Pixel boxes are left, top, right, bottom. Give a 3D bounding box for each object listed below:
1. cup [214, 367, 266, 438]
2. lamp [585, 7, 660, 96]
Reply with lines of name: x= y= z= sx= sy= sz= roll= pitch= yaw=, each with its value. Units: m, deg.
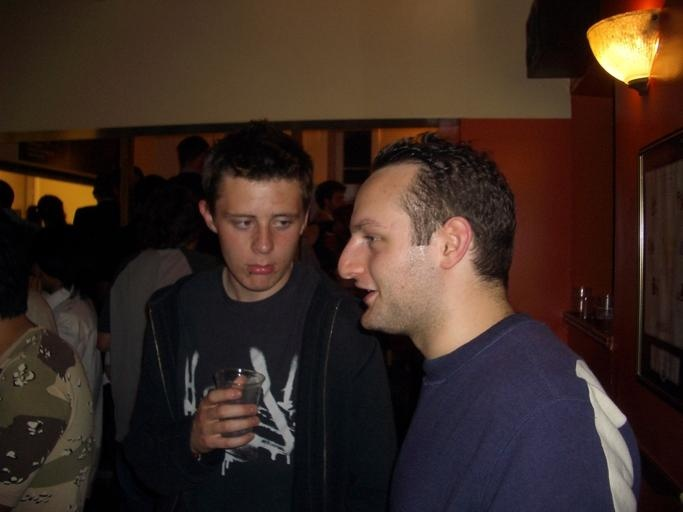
cup: x=-0.389 y=0.617 z=2.383 sx=0.224 sy=0.285 sz=0.249 roll=1 pitch=-14 yaw=1
lamp: x=1.666 y=-1.206 z=3.440 sx=0.410 sy=0.419 sz=0.499 roll=-17 pitch=14 yaw=-2
